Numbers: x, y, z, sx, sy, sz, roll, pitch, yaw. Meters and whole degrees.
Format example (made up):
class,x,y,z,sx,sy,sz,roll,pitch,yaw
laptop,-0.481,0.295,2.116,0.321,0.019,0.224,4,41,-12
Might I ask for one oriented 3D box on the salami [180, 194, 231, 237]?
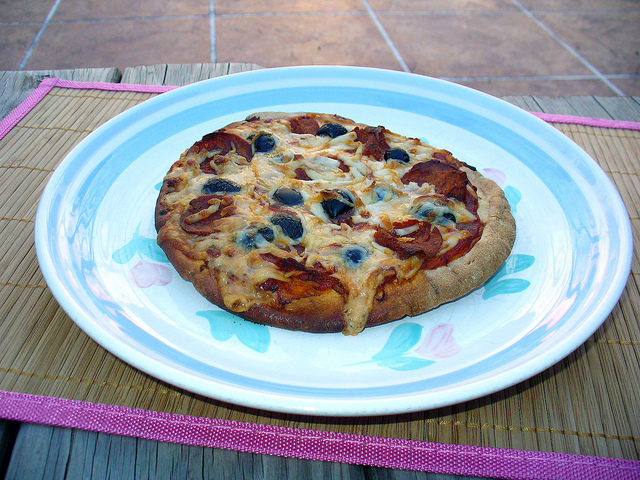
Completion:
class,x,y,z,sx,sy,sz,roll,pitch,yaw
salami,-0.522,-0.109,2.565,0.175,0.031,0.212,22,58,10

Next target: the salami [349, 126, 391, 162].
class,x,y,z,sx,sy,sz,roll,pitch,yaw
salami,0.258,-0.503,2.857,0.183,0.051,0.170,2,57,-16

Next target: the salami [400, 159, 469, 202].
class,x,y,z,sx,sy,sz,roll,pitch,yaw
salami,0.542,-0.296,2.727,0.236,0.057,0.233,-6,42,2

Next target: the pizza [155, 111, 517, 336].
class,x,y,z,sx,sy,sz,roll,pitch,yaw
pizza,0.064,-0.049,2.541,1.499,0.173,1.404,0,40,-1

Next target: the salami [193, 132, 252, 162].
class,x,y,z,sx,sy,sz,roll,pitch,yaw
salami,-0.462,-0.466,2.850,0.217,0.028,0.150,2,58,-2

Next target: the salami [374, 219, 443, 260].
class,x,y,z,sx,sy,sz,roll,pitch,yaw
salami,0.346,0.028,2.606,0.372,0.396,0.096,-5,92,-11
